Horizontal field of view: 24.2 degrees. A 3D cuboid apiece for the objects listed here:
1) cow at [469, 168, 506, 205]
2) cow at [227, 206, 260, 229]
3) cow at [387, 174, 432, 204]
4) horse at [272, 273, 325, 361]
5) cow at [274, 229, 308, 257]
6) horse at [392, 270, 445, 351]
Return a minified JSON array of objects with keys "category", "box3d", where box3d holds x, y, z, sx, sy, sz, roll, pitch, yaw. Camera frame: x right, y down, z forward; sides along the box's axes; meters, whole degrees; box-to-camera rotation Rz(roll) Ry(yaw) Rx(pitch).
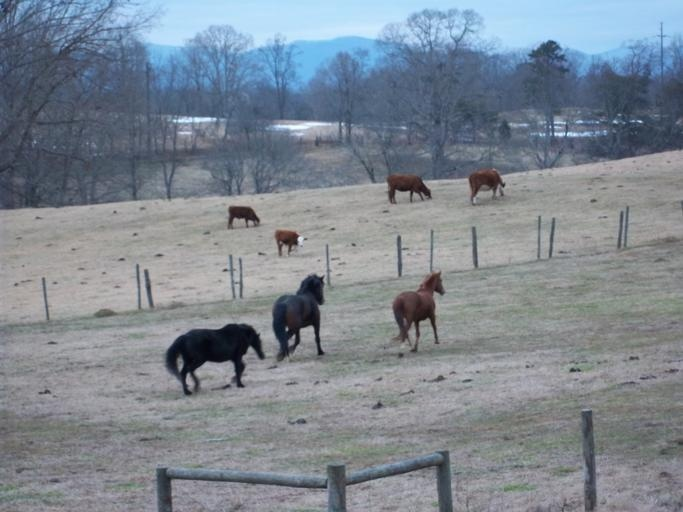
[{"category":"cow","box3d":[11.905,-5.816,131.418,4.847,2.718,1.167,-10,15,-43]},{"category":"cow","box3d":[-8.045,-3.214,130.090,2.466,1.798,2.620,-4,4,-4]},{"category":"cow","box3d":[5.643,-5.686,133.983,3.594,2.322,3.029,-4,4,3]},{"category":"horse","box3d":[-2.690,4.025,103.823,2.012,5.261,6.948,6,9,21]},{"category":"cow","box3d":[-3.954,-1.072,121.412,2.067,1.860,3.680,-4,4,0]},{"category":"horse","box3d":[4.947,3.575,102.771,2.662,4.850,4.014,-3,4,19]}]
